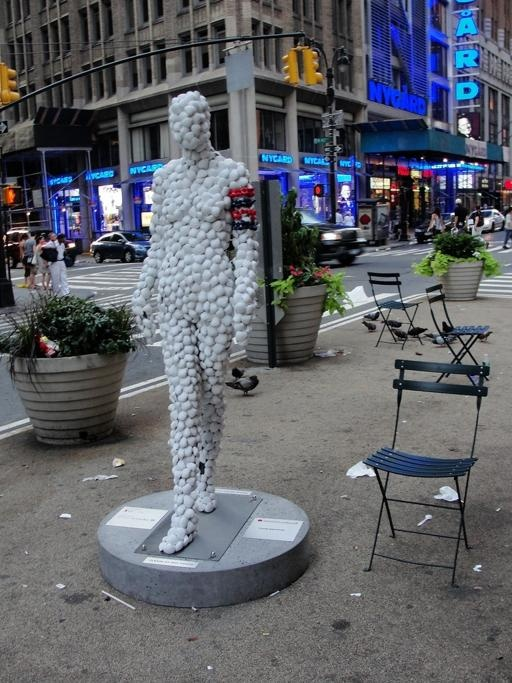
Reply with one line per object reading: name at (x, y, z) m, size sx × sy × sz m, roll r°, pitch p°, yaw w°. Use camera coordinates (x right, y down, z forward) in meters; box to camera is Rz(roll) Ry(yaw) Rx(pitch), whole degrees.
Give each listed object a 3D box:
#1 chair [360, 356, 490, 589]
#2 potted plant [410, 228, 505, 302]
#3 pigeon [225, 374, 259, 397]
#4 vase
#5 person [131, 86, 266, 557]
chair at (0.932, 0.715, 3.943) m, size 0.881 × 1.409 × 0.825 m, roll 4°, pitch 13°, yaw 28°
potted plant at (4.503, -1.748, 14.130) m, size 1.932 × 1.468 × 1.523 m, roll 4°, pitch 11°, yaw 22°
pigeon at (-0.165, 0.518, 7.275) m, size 0.286 × 0.185 × 0.297 m, roll -6°, pitch 8°, yaw -31°
vase at (0.314, -0.266, 8.963) m, size 1.081 × 1.109 × 0.971 m, roll 8°, pitch 14°, yaw 37°
person at (-0.314, -0.159, 3.479) m, size 0.686 × 2.383 × 0.596 m, roll -5°, pitch 9°, yaw -10°
